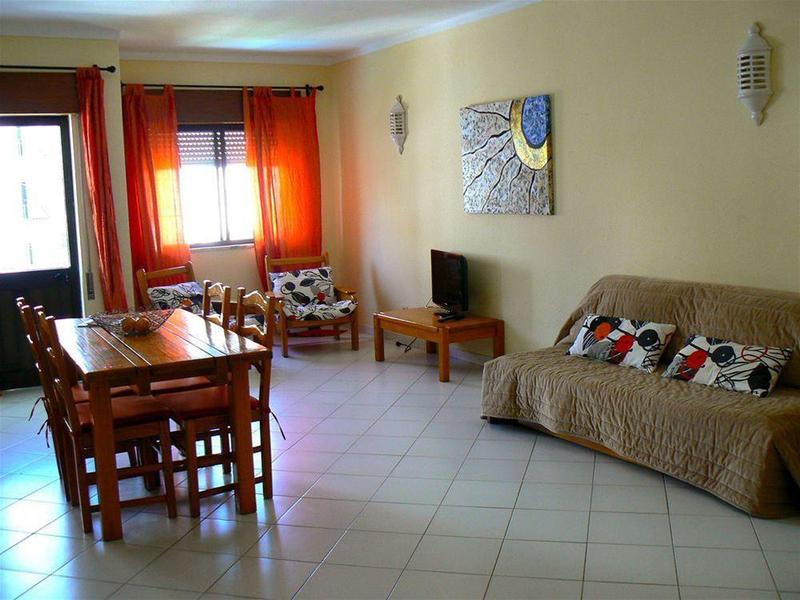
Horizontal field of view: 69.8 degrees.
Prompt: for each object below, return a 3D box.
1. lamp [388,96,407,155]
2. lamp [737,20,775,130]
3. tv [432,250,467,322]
[{"bbox_3d":[-0.036,-1.871,6.148,0.122,0.626,0.302,-9,13,-33],"label":"lamp"},{"bbox_3d":[2.189,-1.397,3.542,0.200,0.618,0.095,6,13,34],"label":"lamp"},{"bbox_3d":[0.482,-0.143,5.440,0.198,0.605,0.639,-2,3,-22],"label":"tv"}]
